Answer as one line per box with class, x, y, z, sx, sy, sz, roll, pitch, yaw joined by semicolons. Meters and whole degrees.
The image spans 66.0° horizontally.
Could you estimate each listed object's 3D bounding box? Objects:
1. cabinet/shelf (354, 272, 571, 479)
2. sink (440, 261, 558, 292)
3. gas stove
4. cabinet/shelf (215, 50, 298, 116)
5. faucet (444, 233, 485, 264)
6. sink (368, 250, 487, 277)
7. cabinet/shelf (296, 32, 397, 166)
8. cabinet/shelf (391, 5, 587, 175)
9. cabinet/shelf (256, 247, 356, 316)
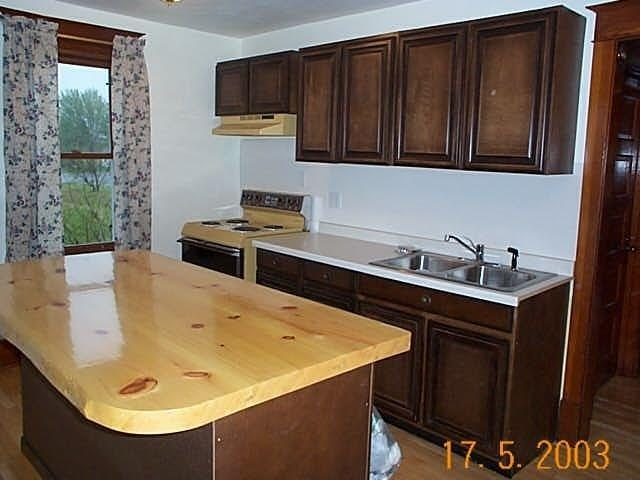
cabinet/shelf;0.837;0.763;3.217;0.581;0.964;1.129;-2;6;-42
sink;1.101;0.216;3.034;0.304;0.147;0.355;-10;15;-37
gas stove;-0.659;-0.213;4.366;0.962;0.430;0.838;14;16;42
cabinet/shelf;-0.527;-1.361;4.386;0.908;0.448;0.291;8;12;38
faucet;0.965;0.043;3.271;0.265;0.188;0.492;7;12;15
sink;0.748;0.159;3.298;0.292;0.136;0.339;-8;12;-40
cabinet/shelf;0.328;-1.027;3.791;0.906;0.848;0.660;9;14;32
cabinet/shelf;1.027;-0.877;2.922;1.113;0.960;0.402;6;7;44
cabinet/shelf;-0.202;0.371;3.578;0.825;0.455;0.274;18;-29;-31
